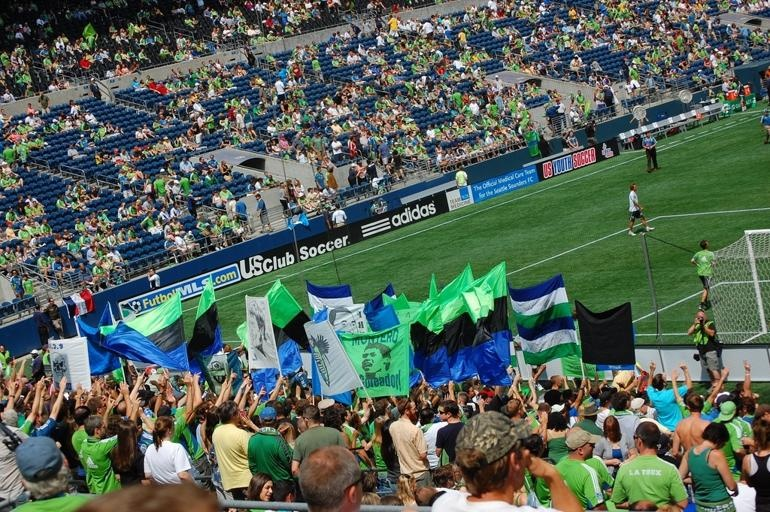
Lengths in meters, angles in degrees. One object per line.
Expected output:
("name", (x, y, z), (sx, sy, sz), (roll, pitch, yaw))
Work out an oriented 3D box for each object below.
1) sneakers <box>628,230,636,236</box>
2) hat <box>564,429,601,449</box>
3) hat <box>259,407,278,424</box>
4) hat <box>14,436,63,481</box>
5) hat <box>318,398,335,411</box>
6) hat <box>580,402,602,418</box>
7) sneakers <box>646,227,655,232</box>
("sneakers", (10.475, -0.998, 51.850), (0.259, 0.247, 0.372), (-13, 9, 7))
("hat", (5.081, 4.775, 31.507), (0.740, 0.332, 0.477), (-10, 11, -19))
("hat", (-3.238, 4.368, 33.394), (0.463, 0.331, 0.741), (-16, 9, -10))
("hat", (-8.247, 4.836, 28.880), (0.790, 0.667, 1.141), (-8, 43, -14))
("hat", (-1.709, 4.203, 34.408), (0.316, 0.095, 0.299), (-24, 15, -15))
("hat", (5.790, 4.417, 34.629), (0.477, 0.470, 0.503), (-15, 9, -1))
("sneakers", (11.260, -1.163, 51.977), (0.436, 0.192, 0.153), (-15, 16, -34))
